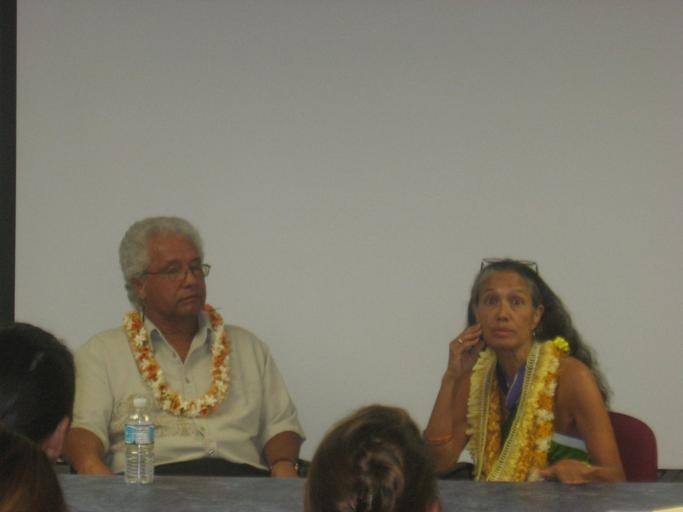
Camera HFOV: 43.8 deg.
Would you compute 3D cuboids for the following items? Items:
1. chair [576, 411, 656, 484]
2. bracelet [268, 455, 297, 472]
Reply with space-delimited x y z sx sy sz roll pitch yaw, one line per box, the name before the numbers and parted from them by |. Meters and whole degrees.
chair | 1.732 1.164 5.195 0.295 0.403 0.304 0 -10 9
bracelet | -0.316 1.162 4.793 0.105 0.053 0.086 3 -4 -3
